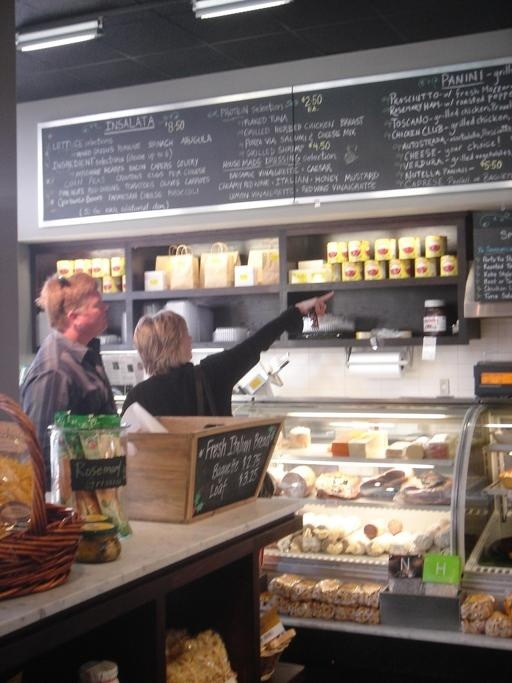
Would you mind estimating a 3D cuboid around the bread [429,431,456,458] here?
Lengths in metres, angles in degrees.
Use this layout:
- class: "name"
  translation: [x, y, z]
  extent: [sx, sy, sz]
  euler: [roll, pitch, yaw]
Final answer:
- class: "bread"
  translation: [0.821, 0.452, 2.411]
  extent: [0.083, 0.065, 0.121]
  euler: [0, 4, 19]

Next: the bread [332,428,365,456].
- class: "bread"
  translation: [0.435, 0.435, 2.535]
  extent: [0.105, 0.056, 0.155]
  euler: [-2, 8, 20]

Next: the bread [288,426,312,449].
- class: "bread"
  translation: [0.213, 0.474, 2.750]
  extent: [0.090, 0.098, 0.097]
  euler: [-1, 0, 0]

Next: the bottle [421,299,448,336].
- class: "bottle"
  translation: [1.067, -0.145, 3.296]
  extent: [0.124, 0.196, 0.138]
  euler: [-3, 11, 16]

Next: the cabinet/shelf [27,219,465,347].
- class: "cabinet/shelf"
  translation: [-0.112, -0.300, 3.778]
  extent: [2.898, 0.880, 0.456]
  euler: [-2, -6, 13]

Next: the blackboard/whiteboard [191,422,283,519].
- class: "blackboard/whiteboard"
  translation: [-0.045, 0.281, 1.237]
  extent: [0.014, 0.190, 0.316]
  euler: [6, 1, 33]

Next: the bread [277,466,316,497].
- class: "bread"
  translation: [0.181, 0.634, 2.603]
  extent: [0.115, 0.154, 0.137]
  euler: [1, 0, 18]

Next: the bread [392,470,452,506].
- class: "bread"
  translation: [0.720, 0.632, 2.355]
  extent: [0.171, 0.064, 0.147]
  euler: [-13, 18, 5]
